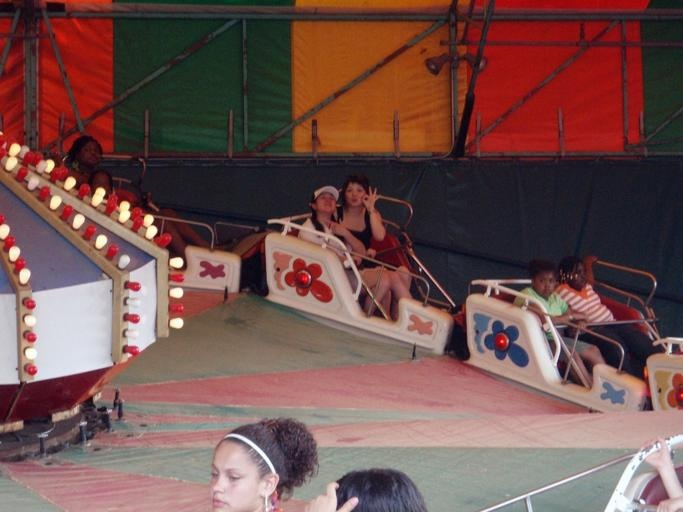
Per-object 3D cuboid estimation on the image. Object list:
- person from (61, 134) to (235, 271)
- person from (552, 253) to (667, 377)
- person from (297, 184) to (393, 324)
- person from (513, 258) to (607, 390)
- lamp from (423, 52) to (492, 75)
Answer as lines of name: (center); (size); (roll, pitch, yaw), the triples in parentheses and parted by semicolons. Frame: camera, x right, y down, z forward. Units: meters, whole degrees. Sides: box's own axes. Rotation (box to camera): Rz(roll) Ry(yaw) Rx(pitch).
person: (-2.041, -0.588, 9.192); (1.162, 1.037, 1.934); (-1, -19, 6)
person: (2.411, 0.617, 7.985); (0.460, 0.837, 1.410); (-16, 29, -16)
person: (0.054, -0.001, 8.659); (0.966, 1.241, 0.517); (2, -18, -5)
person: (1.864, 0.584, 7.705); (0.734, 1.097, 0.543); (2, -18, -3)
lamp: (1.265, -2.304, 10.781); (0.893, 0.154, 0.385); (3, -60, 13)
